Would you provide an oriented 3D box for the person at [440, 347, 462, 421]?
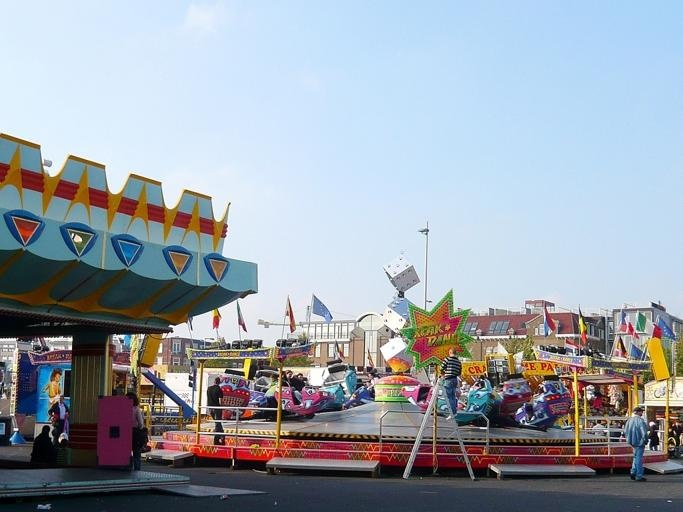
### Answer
[{"bbox_3d":[2.986,3.434,24.238,0.506,1.883,1.531,-2,-12,6],"label":"person"}]

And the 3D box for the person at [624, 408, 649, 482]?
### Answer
[{"bbox_3d":[8.208,5.208,24.679,0.545,1.982,1.255,-4,-12,17],"label":"person"}]

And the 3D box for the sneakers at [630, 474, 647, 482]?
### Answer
[{"bbox_3d":[8.070,6.015,24.056,0.397,0.288,0.138,0,-2,-23],"label":"sneakers"}]
